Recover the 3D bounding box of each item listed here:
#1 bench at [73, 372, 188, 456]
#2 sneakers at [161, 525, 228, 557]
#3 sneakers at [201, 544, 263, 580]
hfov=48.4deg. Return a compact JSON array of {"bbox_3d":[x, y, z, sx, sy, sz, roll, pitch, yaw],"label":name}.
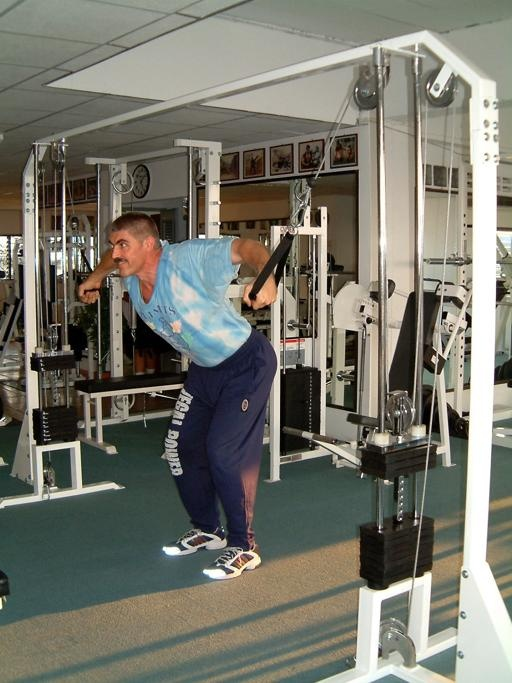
[{"bbox_3d":[-1.295,0.650,5.602,0.699,0.466,0.976,-2,3,31],"label":"bench"},{"bbox_3d":[-0.301,1.033,3.030,0.368,0.149,0.121,-1,-4,-22],"label":"sneakers"},{"bbox_3d":[-0.107,1.028,2.707,0.281,0.127,0.109,1,-7,-38],"label":"sneakers"}]
